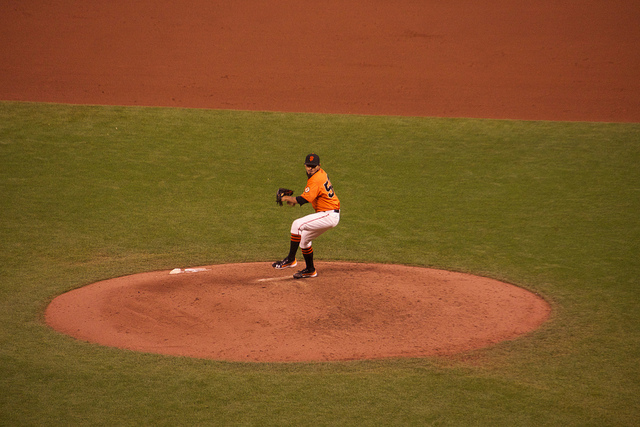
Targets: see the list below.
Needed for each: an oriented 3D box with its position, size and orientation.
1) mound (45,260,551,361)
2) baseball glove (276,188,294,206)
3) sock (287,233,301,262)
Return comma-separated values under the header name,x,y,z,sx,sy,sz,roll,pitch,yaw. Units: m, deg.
name,x,y,z,sx,sy,sz,roll,pitch,yaw
mound,-0.288,2.111,25.881,11.189,0.347,5.023,0,21,-3
baseball glove,-0.868,-0.422,26.752,0.364,0.405,0.172,7,-8,-14
sock,-0.594,0.749,26.711,0.316,0.679,0.151,-1,28,-2
